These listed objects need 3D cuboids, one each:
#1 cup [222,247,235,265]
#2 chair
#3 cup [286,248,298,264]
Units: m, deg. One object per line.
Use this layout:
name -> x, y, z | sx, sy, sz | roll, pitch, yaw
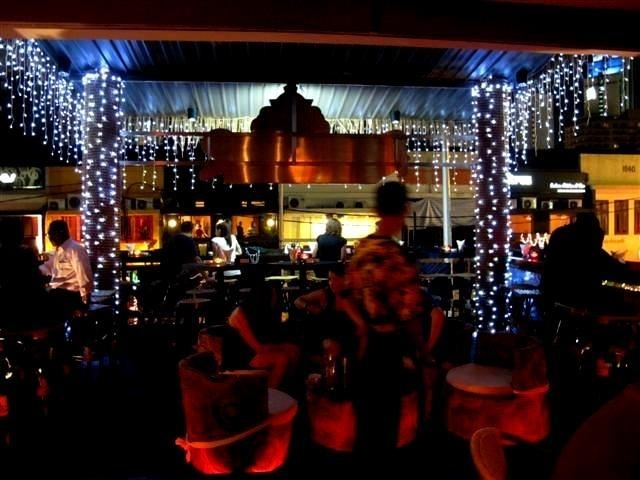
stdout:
cup -> -1.606, 0.294, 12.294 | 0.253, 0.286, 0.249 | 1, 2, 0
chair -> -0.863, 1.796, 7.133 | 1.297, 1.044, 1.063 | 1, 2, -28
cup -> -0.450, 0.243, 11.296 | 0.197, 0.346, 0.201 | 1, -3, 0
